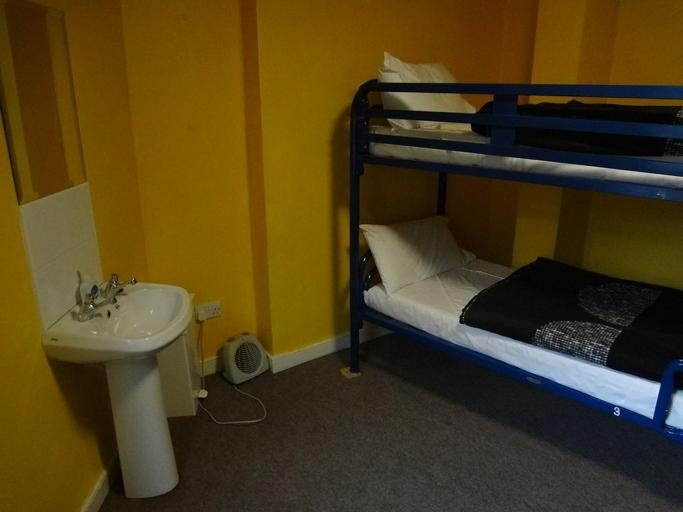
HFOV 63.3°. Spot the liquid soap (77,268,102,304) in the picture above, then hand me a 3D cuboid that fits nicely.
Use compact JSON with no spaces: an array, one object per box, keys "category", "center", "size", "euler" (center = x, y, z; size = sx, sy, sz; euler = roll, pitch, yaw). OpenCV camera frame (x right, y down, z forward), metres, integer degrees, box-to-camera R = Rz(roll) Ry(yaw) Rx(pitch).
[{"category":"liquid soap","center":[-1.231,0.148,2.697],"size":[0.089,0.188,0.133],"euler":[4,10,14]}]

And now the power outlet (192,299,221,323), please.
[{"category":"power outlet","center":[-0.856,0.349,3.529],"size":[0.202,0.151,0.108],"euler":[-8,13,-41]}]

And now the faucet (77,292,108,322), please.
[{"category":"faucet","center":[-1.167,0.252,2.625],"size":[0.121,0.065,0.153],"euler":[18,18,12]}]

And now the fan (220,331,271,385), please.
[{"category":"fan","center":[-0.627,0.666,3.571],"size":[0.263,0.271,0.156],"euler":[-11,16,-44]}]

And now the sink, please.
[{"category":"sink","center":[-0.923,0.301,2.672],"size":[0.393,0.172,0.575],"euler":[-9,24,-23]}]

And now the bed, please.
[{"category":"bed","center":[0.976,0.048,3.174],"size":[0.797,1.858,1.854],"euler":[-9,14,-39]}]

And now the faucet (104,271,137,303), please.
[{"category":"faucet","center":[-1.123,0.165,2.743],"size":[0.125,0.066,0.167],"euler":[-27,30,-37]}]
